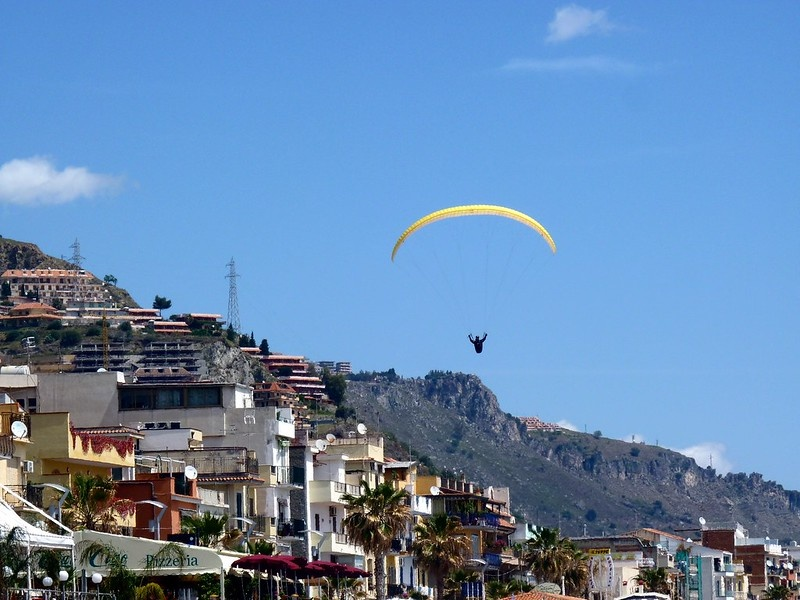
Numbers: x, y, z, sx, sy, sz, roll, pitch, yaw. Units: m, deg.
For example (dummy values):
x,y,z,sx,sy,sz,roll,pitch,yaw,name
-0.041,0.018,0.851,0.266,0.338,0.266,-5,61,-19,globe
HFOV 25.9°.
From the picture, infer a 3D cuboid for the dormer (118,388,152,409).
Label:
x,y,z,sx,sy,sz,roll,pitch,yaw,name
-21.044,8.105,136.968,2.561,2.121,1.500,2,-33,-9,dormer
